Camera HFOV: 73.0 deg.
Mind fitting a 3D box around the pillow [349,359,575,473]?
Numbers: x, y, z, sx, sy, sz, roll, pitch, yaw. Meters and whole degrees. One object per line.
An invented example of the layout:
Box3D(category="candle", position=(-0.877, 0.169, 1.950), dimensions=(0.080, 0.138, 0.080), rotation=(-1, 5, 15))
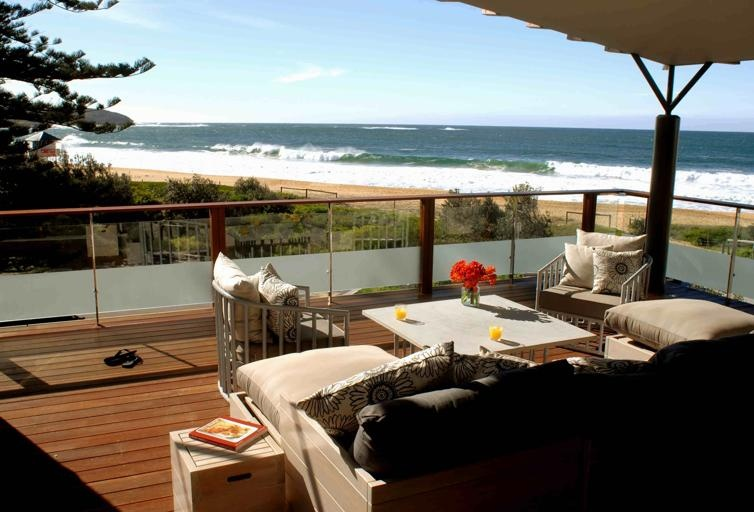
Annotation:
Box3D(category="pillow", position=(0.355, 0.750, 2.465), dimensions=(1.248, 0.356, 0.388), rotation=(-4, -14, -18))

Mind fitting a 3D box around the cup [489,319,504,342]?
Box3D(category="cup", position=(0.927, 0.597, 3.967), dimensions=(0.116, 0.092, 0.116), rotation=(0, 2, 0))

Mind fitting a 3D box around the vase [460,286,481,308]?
Box3D(category="vase", position=(0.853, 0.379, 4.719), dimensions=(0.211, 0.273, 0.160), rotation=(0, 4, 1))

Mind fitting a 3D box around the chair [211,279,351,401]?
Box3D(category="chair", position=(-0.713, 0.527, 4.021), dimensions=(1.045, 0.897, 1.012), rotation=(-4, 12, -21))

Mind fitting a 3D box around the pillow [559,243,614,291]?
Box3D(category="pillow", position=(2.192, 0.124, 5.288), dimensions=(0.472, 0.430, 0.178), rotation=(7, -8, 43))

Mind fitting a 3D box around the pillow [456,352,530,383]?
Box3D(category="pillow", position=(0.551, 0.556, 2.582), dimensions=(0.246, 0.066, 0.201), rotation=(-1, 1, -26))

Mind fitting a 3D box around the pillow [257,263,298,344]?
Box3D(category="pillow", position=(-0.770, 0.372, 3.875), dimensions=(0.314, 0.465, 0.549), rotation=(1, 10, -20))

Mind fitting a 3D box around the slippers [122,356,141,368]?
Box3D(category="slippers", position=(-2.177, 0.945, 4.544), dimensions=(0.135, 0.036, 0.209), rotation=(1, 9, 12))

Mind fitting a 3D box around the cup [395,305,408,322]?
Box3D(category="cup", position=(0.201, 0.487, 4.317), dimensions=(0.115, 0.110, 0.110), rotation=(0, 3, 0))

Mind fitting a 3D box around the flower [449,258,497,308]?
Box3D(category="flower", position=(0.928, 0.218, 4.851), dimensions=(0.506, 0.459, 0.483), rotation=(-3, 7, -30))

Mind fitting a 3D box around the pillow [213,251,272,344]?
Box3D(category="pillow", position=(-0.980, 0.324, 3.679), dimensions=(0.176, 0.528, 0.551), rotation=(-8, 27, -28))
